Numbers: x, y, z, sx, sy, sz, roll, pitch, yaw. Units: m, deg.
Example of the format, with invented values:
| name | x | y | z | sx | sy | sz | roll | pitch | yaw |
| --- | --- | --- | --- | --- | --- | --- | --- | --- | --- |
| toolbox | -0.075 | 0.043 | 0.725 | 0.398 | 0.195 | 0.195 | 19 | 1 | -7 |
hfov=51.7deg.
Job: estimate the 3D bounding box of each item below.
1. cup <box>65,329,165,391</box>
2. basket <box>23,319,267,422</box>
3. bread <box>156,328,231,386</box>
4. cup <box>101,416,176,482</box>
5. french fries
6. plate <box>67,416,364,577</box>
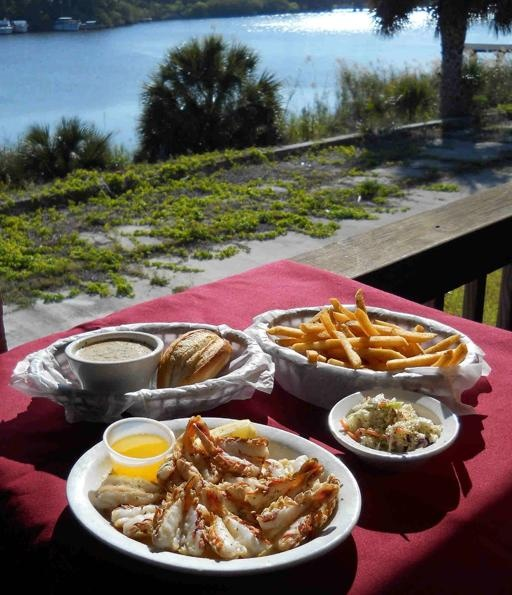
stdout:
| name | x | y | z | sx | sy | sz | roll | pitch | yaw |
| --- | --- | --- | --- | --- | --- | --- | --- | --- | --- |
| cup | -0.241 | 0.105 | 0.911 | 0.130 | 0.050 | 0.118 | 4 | 14 | 9 |
| basket | -0.182 | 0.134 | 0.929 | 0.284 | 0.100 | 0.264 | 9 | 18 | 41 |
| bread | -0.119 | 0.096 | 1.006 | 0.142 | 0.084 | 0.129 | -14 | 18 | -41 |
| cup | -0.161 | 0.203 | 0.727 | 0.112 | 0.073 | 0.106 | -2 | 24 | 1 |
| french fries | 0.206 | 0.084 | 0.970 | 0.232 | 0.075 | 0.207 | -1 | 14 | -6 |
| plate | -0.052 | 0.229 | 0.639 | 0.341 | 0.059 | 0.265 | -6 | 11 | -9 |
